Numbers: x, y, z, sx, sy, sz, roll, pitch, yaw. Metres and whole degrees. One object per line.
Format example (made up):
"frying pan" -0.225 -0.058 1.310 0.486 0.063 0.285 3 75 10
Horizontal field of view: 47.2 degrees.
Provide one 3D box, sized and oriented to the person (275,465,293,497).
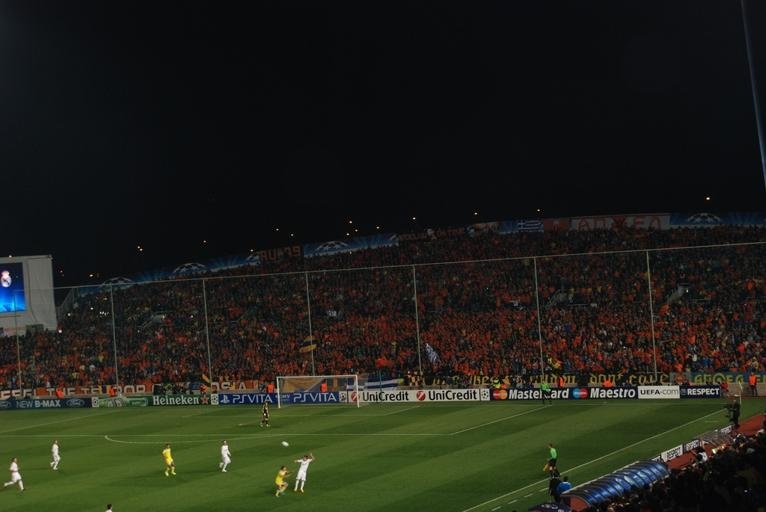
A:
"person" -5.777 13.285 51.577 1.005 2.076 0.898 -2 22 -17
